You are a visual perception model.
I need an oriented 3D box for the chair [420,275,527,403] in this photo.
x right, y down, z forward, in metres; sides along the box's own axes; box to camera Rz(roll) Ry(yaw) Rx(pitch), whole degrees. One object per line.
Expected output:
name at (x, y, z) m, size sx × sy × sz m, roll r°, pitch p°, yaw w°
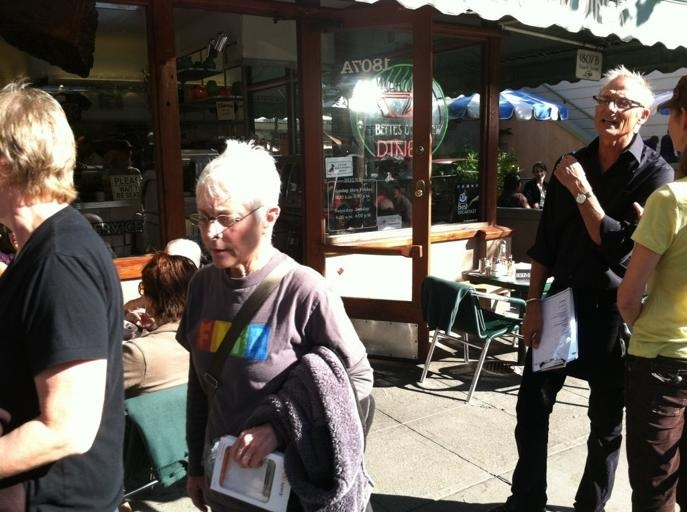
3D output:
chair at (1.039, 0.540, 5.353) m, size 0.955 × 1.228 × 0.929 m, roll -11°, pitch 14°, yaw -33°

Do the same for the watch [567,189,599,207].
watch at (1.152, -0.294, 2.877) m, size 0.090 × 0.063 × 0.087 m, roll -18°, pitch -2°, yaw 40°

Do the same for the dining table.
dining table at (1.242, 0.453, 4.585) m, size 0.716 × 0.698 × 0.701 m, roll -15°, pitch 22°, yaw -37°
